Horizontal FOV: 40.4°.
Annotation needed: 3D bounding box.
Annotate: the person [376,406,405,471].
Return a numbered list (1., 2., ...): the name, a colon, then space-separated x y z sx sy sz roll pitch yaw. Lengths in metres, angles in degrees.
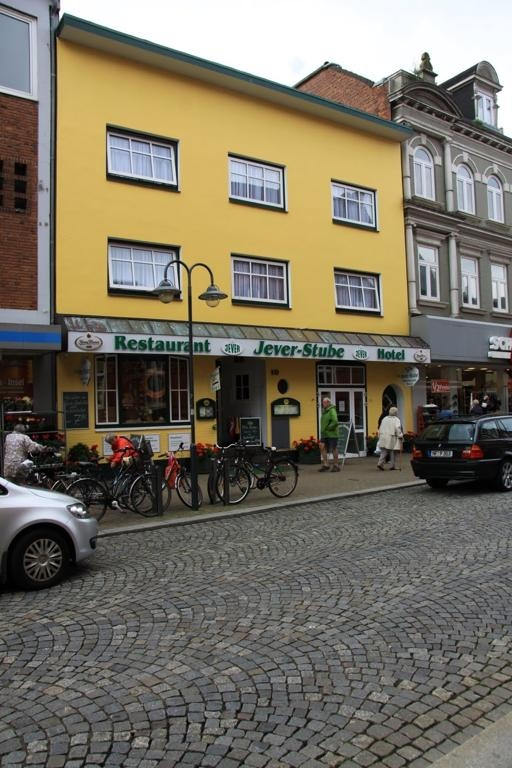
1. person: 3.012 1.211 15.949 0.526 1.386 2.271 -2 -3 10

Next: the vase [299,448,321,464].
1. vase: 1.351 1.838 17.526 0.623 0.437 0.338 2 -3 -38

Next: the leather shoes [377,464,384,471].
1. leather shoes: 2.740 1.849 15.431 0.068 0.082 0.193 -11 -48 15

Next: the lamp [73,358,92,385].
1. lamp: -3.371 -0.280 13.991 0.362 0.577 0.376 -4 -4 45

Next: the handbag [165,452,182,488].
1. handbag: -1.280 1.321 10.717 0.239 0.527 0.636 -1 -3 -6

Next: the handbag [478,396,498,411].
1. handbag: 7.934 0.626 23.995 0.467 0.849 0.469 3 -1 44

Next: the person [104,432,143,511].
1. person: -1.984 1.293 10.475 0.486 1.088 1.456 -1 -3 -12

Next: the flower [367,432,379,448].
1. flower: 3.223 1.589 19.421 0.320 0.343 0.313 -1 1 -5

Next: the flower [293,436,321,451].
1. flower: 1.261 1.498 17.570 0.381 0.264 0.378 1 0 -7
